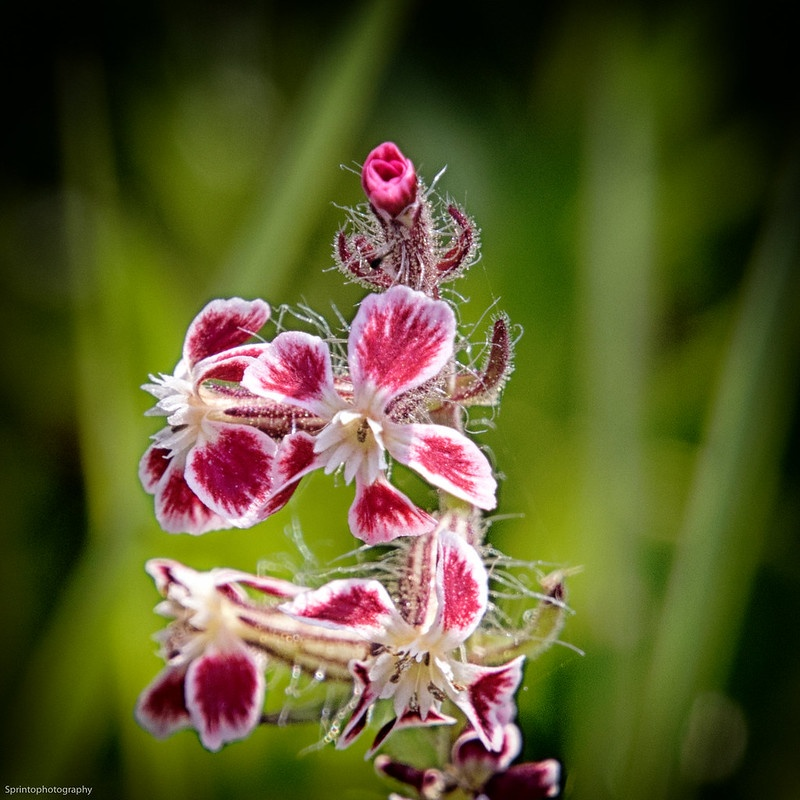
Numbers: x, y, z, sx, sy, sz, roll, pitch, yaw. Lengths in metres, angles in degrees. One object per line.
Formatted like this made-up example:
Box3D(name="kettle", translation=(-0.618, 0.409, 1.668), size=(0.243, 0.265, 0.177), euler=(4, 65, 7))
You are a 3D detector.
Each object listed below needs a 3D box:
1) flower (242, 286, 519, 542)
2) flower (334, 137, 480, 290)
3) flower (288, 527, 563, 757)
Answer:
Box3D(name="flower", translation=(-0.055, 0.034, 2.521), size=(0.469, 0.558, 0.249), euler=(-10, 2, 16))
Box3D(name="flower", translation=(0.003, -0.335, 2.674), size=(0.246, 0.420, 0.272), euler=(11, 43, 19))
Box3D(name="flower", translation=(0.040, 0.548, 2.498), size=(0.521, 0.242, 0.543), euler=(2, 14, -21))
